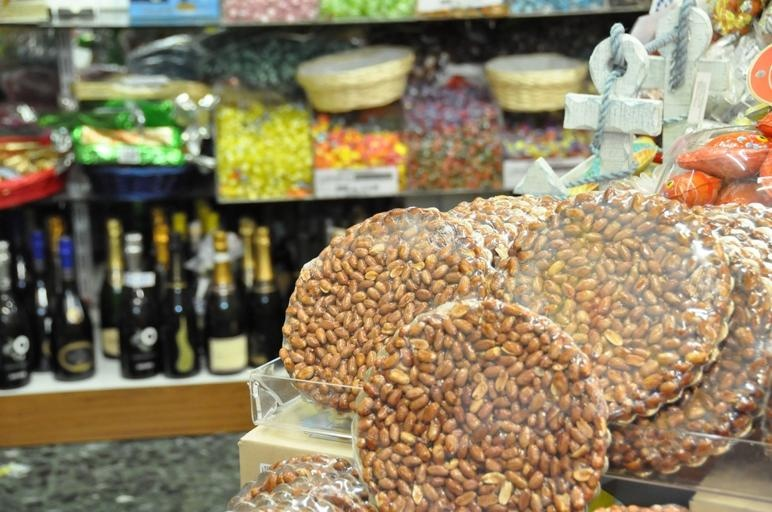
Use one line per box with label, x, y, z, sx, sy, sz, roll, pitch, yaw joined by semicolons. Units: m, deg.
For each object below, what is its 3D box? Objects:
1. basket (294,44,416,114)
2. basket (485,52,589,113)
basket;-0.085;-0.545;2.559;0.383;0.176;0.152;-8;35;-6
basket;0.487;-0.571;2.674;0.293;0.127;0.280;9;17;38
